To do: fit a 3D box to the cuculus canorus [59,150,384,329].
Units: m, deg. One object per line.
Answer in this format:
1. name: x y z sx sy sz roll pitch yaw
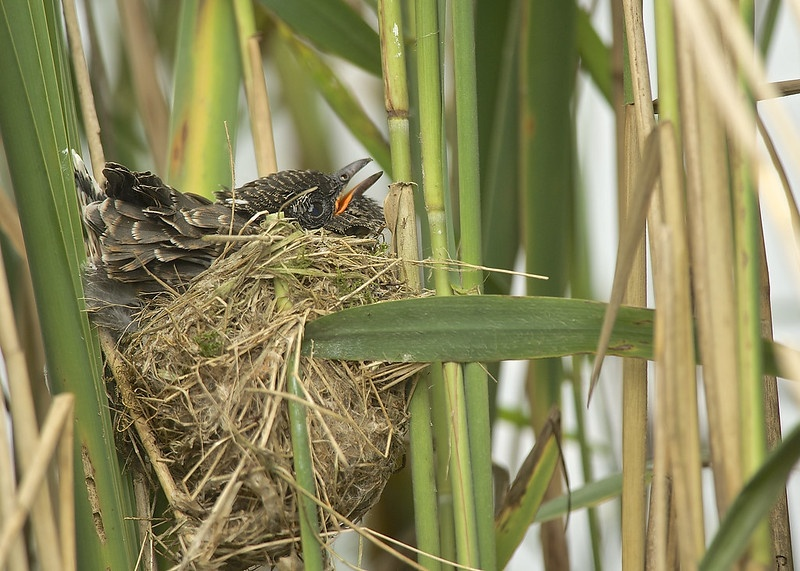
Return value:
1. cuculus canorus: -0.267 -0.114 2.015 0.488 0.302 0.219 -12 12 -11
